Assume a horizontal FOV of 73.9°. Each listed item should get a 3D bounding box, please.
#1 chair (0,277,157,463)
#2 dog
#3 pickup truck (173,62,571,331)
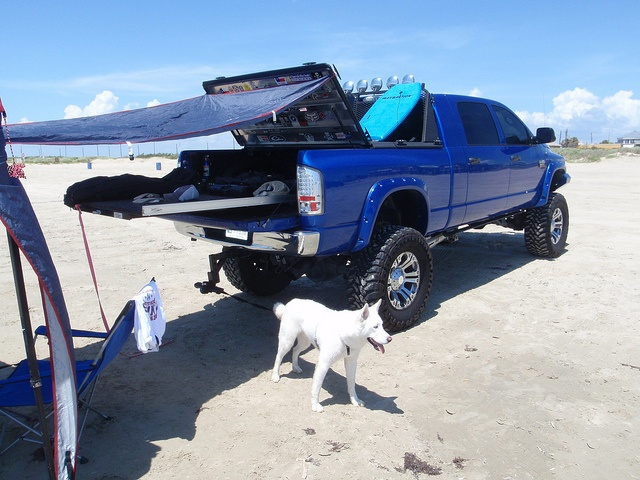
[{"bbox_3d":[-1.789,0.931,3.672,1.684,1.064,1.261,1,-2,-18],"label":"chair"},{"bbox_3d":[-0.003,0.902,3.738,0.520,0.880,1.460,4,1,-42],"label":"dog"},{"bbox_3d":[1.579,-0.971,6.713,7.059,2.475,2.772,-12,23,-40],"label":"pickup truck"}]
